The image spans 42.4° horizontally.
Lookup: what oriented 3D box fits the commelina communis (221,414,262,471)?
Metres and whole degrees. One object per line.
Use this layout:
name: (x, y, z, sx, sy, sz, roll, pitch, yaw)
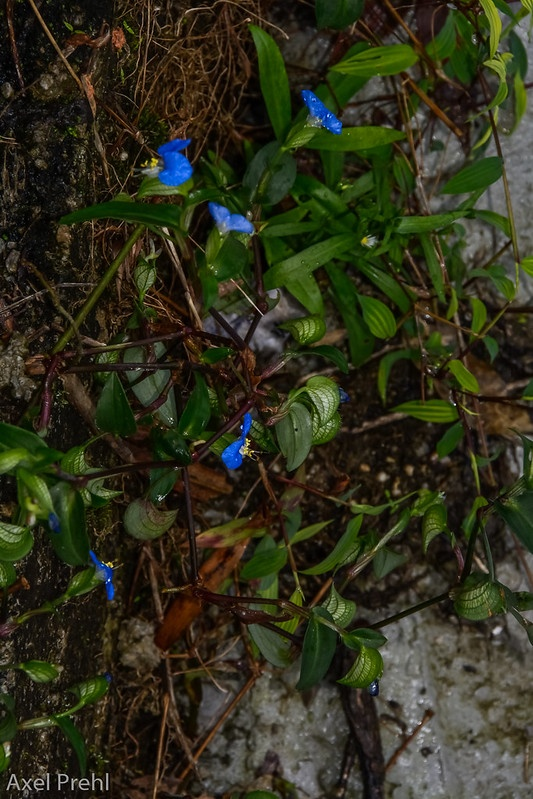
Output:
commelina communis: (-0.050, 0.084, 1.225, 0.062, 0.041, 0.121, 17, 92, -16)
